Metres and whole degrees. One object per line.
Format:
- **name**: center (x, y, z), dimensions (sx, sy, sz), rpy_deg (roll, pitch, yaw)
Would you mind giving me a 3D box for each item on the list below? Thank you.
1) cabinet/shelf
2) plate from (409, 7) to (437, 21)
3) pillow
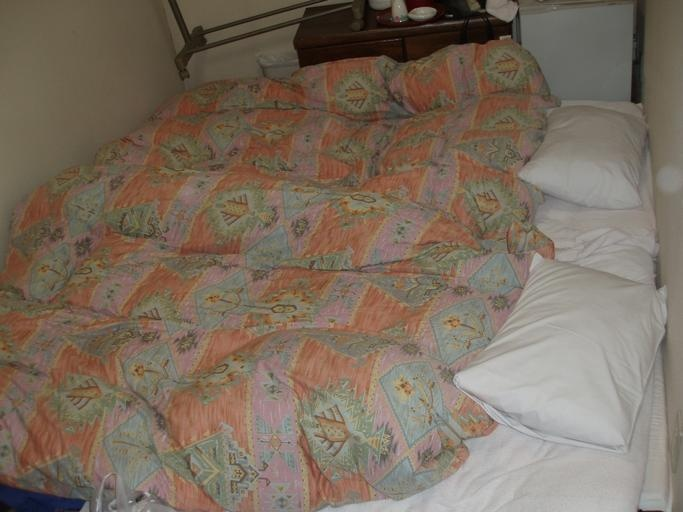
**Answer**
- **cabinet/shelf**: center (0.305, -1.143, 3.112), dimensions (1.107, 0.230, 0.347), rpy_deg (2, 40, 11)
- **plate**: center (0.399, -1.194, 2.961), dimensions (0.142, 0.054, 0.082), rpy_deg (-1, 39, 6)
- **pillow**: center (0.624, 0.078, 1.710), dimensions (0.505, 0.156, 1.310), rpy_deg (11, 45, 23)
